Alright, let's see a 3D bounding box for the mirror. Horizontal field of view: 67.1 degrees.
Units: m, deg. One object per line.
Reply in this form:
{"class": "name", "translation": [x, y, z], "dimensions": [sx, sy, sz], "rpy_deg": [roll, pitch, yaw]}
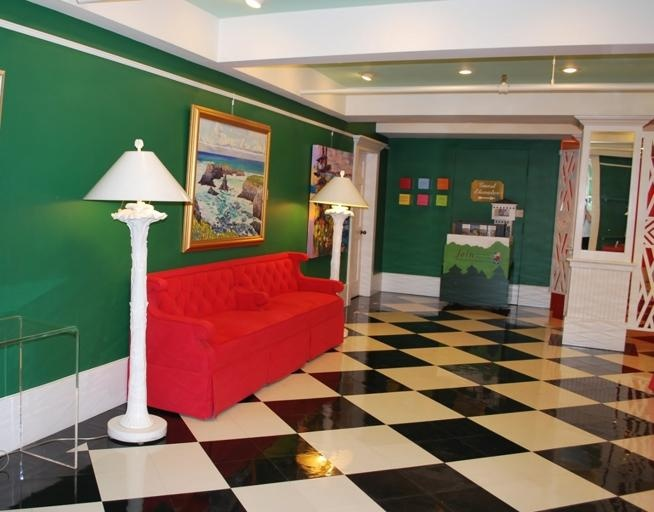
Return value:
{"class": "mirror", "translation": [3.637, -0.826, 6.392], "dimensions": [0.549, 1.547, 0.212], "rpy_deg": [7, 8, 22]}

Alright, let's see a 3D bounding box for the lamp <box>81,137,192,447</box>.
{"class": "lamp", "translation": [-1.392, 0.258, 3.602], "dimensions": [0.672, 2.151, 0.583], "rpy_deg": [0, 8, -24]}
